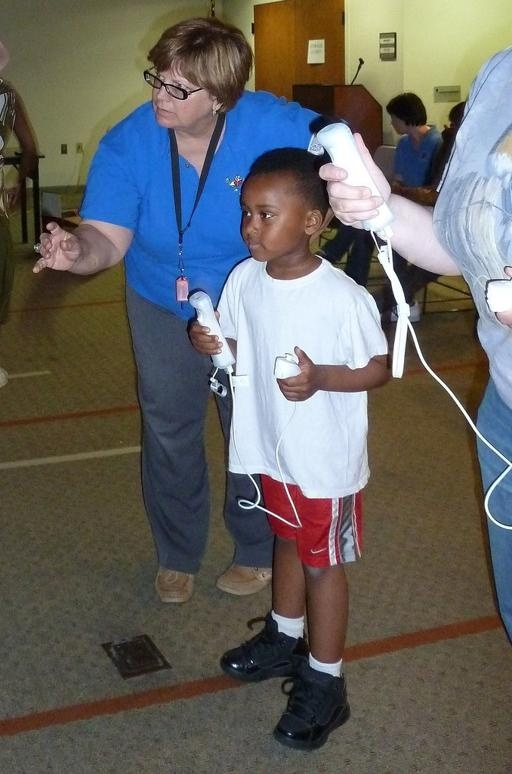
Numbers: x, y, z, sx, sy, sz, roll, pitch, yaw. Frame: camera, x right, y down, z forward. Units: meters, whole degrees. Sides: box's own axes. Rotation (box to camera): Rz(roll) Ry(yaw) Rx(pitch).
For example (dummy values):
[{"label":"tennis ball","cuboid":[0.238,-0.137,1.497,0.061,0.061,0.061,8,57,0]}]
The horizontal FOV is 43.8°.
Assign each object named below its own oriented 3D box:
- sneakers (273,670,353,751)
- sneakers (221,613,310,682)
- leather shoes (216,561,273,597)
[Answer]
[{"label":"sneakers","cuboid":[0.135,0.709,1.495,0.219,0.135,0.111,-17,24,-39]},{"label":"sneakers","cuboid":[0.019,0.655,1.675,0.282,0.189,0.117,1,29,-4]},{"label":"leather shoes","cuboid":[-0.030,0.610,2.063,0.180,0.083,0.080,0,9,-39]}]
